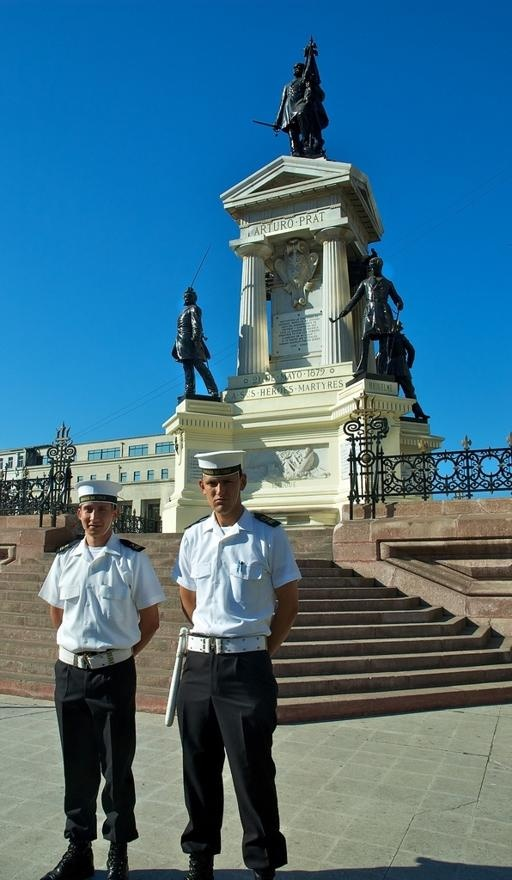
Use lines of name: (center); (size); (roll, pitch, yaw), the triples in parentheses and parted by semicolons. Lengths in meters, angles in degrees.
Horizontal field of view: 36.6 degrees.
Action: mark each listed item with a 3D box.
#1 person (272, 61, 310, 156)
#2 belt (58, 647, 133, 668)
person: (1.035, -9.693, 22.894); (0.870, 3.286, 1.505); (-3, -3, 4)
belt: (-0.818, 1.084, 3.907); (0.368, 0.084, 0.261); (-2, -3, -9)
